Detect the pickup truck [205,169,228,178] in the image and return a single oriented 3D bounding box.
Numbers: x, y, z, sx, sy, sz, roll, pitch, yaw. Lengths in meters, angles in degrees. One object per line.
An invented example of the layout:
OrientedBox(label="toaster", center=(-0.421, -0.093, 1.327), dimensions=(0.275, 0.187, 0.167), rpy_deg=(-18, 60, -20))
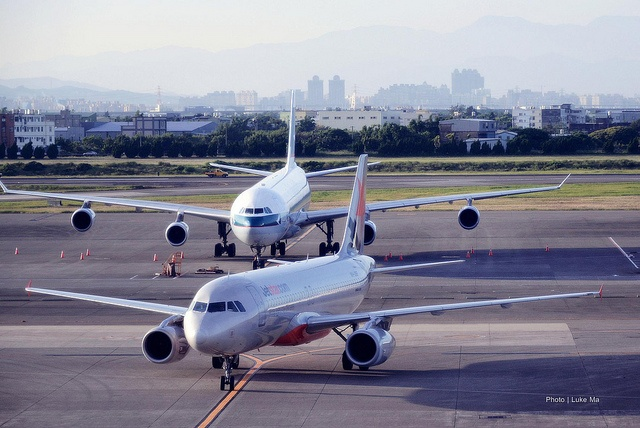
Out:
OrientedBox(label="pickup truck", center=(-15.210, -5.836, 148.743), dimensions=(2.835, 0.966, 1.485), rpy_deg=(-1, 6, 3))
